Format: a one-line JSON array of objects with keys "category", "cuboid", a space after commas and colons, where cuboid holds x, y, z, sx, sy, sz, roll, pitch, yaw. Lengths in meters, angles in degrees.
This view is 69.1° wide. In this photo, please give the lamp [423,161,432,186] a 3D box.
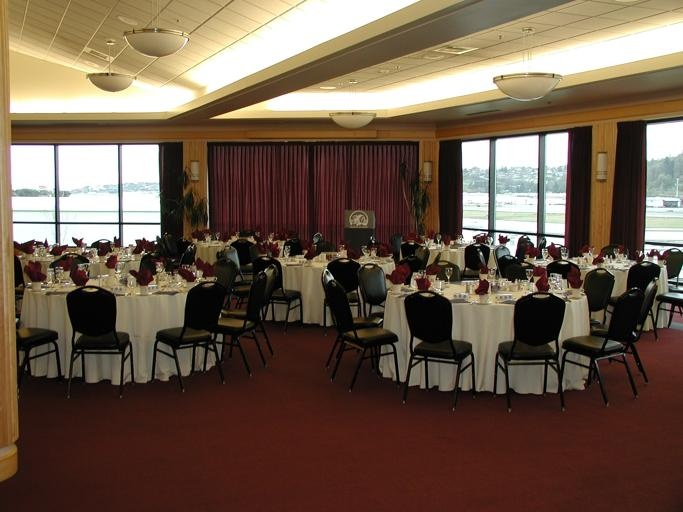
[{"category": "lamp", "cuboid": [2.539, -2.509, 14.407, 0.283, 0.619, 0.120, -5, 11, -23]}]

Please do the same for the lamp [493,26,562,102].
[{"category": "lamp", "cuboid": [2.579, -2.683, 6.818, 0.915, 0.923, 0.945, 3, 10, 15]}]

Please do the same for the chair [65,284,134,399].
[{"category": "chair", "cuboid": [-2.756, 0.907, 5.573, 0.717, 1.272, 0.438, 0, 10, 3]}]

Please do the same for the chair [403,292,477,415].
[{"category": "chair", "cuboid": [1.076, 0.938, 5.379, 0.781, 1.261, 0.607, 1, 10, 8]}]

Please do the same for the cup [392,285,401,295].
[{"category": "cup", "cuboid": [0.695, 0.402, 6.121, 0.121, 0.091, 0.107, 0, 1, -11]}]

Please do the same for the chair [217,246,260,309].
[{"category": "chair", "cuboid": [-1.816, 0.289, 9.047, 0.624, 0.966, 0.612, 3, 13, 17]}]

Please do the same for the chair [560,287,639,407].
[{"category": "chair", "cuboid": [2.957, 0.901, 5.293, 0.645, 0.957, 0.631, -5, -18, -26]}]

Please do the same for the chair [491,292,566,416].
[{"category": "chair", "cuboid": [2.032, 0.947, 5.244, 0.733, 1.261, 0.456, -2, 10, -6]}]

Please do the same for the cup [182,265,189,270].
[{"category": "cup", "cuboid": [-2.236, 0.139, 7.126, 0.056, 0.042, 0.053, -2, 13, 1]}]

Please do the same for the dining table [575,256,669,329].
[{"category": "dining table", "cuboid": [4.485, 0.312, 7.887, 1.274, 1.257, 1.206, -6, 9, -22]}]

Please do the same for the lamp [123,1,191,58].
[{"category": "lamp", "cuboid": [-2.176, -2.750, 5.777, 0.712, 0.782, 0.652, -12, 21, -33]}]

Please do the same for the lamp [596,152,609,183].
[{"category": "lamp", "cuboid": [5.541, -1.954, 10.557, 0.114, 0.624, 0.264, -7, 12, -33]}]

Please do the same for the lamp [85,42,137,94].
[{"category": "lamp", "cuboid": [-4.019, -3.354, 8.652, 0.749, 0.854, 0.749, 3, 9, 2]}]

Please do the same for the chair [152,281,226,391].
[{"category": "chair", "cuboid": [-1.803, 0.881, 5.835, 0.821, 1.287, 0.661, -5, 11, -23]}]

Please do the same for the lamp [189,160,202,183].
[{"category": "lamp", "cuboid": [-4.292, -2.582, 14.592, 0.331, 0.627, 0.163, -3, 11, -12]}]

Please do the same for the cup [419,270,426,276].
[{"category": "cup", "cuboid": [0.991, 0.187, 6.049, 0.076, 0.057, 0.078, -1, 2, 0]}]

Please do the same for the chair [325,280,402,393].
[{"category": "chair", "cuboid": [0.257, 0.908, 5.910, 0.761, 1.166, 0.686, -1, 1, -22]}]

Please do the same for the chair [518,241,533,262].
[{"category": "chair", "cuboid": [3.629, -0.120, 9.771, 0.224, 0.400, 0.290, -20, 31, -32]}]

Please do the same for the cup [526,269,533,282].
[{"category": "cup", "cuboid": [2.450, 0.230, 6.449, 0.082, 0.190, 0.280, 3, 10, 20]}]

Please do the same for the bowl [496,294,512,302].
[{"category": "bowl", "cuboid": [1.849, 0.465, 5.604, 0.133, 0.061, 0.095, -1, 4, -16]}]

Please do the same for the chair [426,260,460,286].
[{"category": "chair", "cuboid": [1.381, 0.192, 6.816, 0.334, 0.443, 0.424, 3, -11, -30]}]

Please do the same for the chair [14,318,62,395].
[{"category": "chair", "cuboid": [-3.503, 1.062, 5.778, 0.439, 0.681, 0.407, -9, 3, -25]}]

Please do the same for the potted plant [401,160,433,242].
[{"category": "potted plant", "cuboid": [2.187, -1.767, 14.574, 0.773, 2.148, 0.574, 7, 13, 36]}]

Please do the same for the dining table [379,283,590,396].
[{"category": "dining table", "cuboid": [1.637, 0.971, 5.266, 1.456, 0.570, 1.459, -1, -2, 2]}]

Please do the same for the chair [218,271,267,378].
[{"category": "chair", "cuboid": [-1.374, 0.828, 6.461, 0.805, 1.231, 0.808, 0, 2, -2]}]

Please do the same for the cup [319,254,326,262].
[{"category": "cup", "cuboid": [-0.327, 0.004, 8.809, 0.141, 0.133, 0.072, 0, 0, 13]}]

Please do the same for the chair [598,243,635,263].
[{"category": "chair", "cuboid": [5.059, -0.081, 9.055, 0.352, 0.257, 0.351, -4, 9, -22]}]

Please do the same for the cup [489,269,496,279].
[{"category": "cup", "cuboid": [1.847, 0.202, 6.078, 0.082, 0.110, 0.188, 2, 10, 15]}]
